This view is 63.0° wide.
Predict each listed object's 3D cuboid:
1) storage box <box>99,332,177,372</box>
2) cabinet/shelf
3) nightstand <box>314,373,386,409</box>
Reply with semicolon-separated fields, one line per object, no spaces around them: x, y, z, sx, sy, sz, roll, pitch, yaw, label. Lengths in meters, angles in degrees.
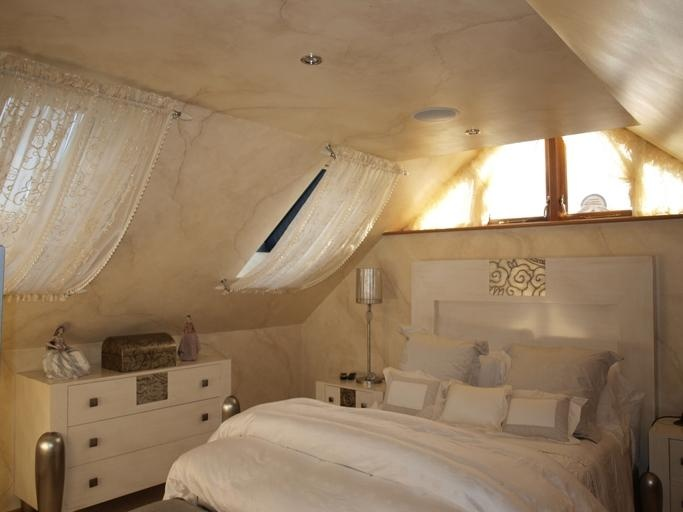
-1.568;0.647;4.248;0.293;0.233;0.413;-2;-4;43;storage box
-1.823;0.924;4.349;0.868;0.995;1.634;-4;-4;40;cabinet/shelf
0.098;1.121;4.970;0.450;0.414;0.247;1;2;36;nightstand
